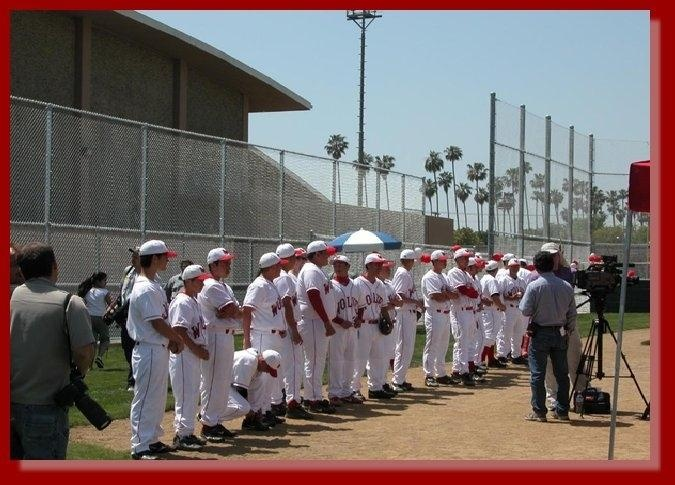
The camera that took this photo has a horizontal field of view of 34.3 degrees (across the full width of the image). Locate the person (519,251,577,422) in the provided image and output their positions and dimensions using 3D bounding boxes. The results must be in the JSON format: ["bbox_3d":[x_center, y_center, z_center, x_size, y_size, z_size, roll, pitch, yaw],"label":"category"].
[{"bbox_3d":[3.589,1.569,18.989,0.981,2.770,1.074,5,7,27],"label":"person"}]

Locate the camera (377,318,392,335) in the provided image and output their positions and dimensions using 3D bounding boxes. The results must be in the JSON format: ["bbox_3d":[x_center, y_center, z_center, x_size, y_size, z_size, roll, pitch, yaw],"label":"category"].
[{"bbox_3d":[0.936,1.611,20.815,0.150,0.335,0.227,0,8,-43],"label":"camera"}]

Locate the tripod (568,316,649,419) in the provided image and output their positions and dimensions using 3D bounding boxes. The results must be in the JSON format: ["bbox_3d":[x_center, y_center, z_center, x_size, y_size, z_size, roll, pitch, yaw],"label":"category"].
[{"bbox_3d":[5.377,2.538,21.686,1.670,2.113,1.493,-2,4,2],"label":"tripod"}]

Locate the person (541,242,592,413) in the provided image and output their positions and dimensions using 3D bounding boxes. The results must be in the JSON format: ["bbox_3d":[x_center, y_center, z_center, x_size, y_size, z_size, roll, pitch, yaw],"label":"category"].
[{"bbox_3d":[4.104,1.611,20.164,1.000,3.130,1.091,5,6,29],"label":"person"}]

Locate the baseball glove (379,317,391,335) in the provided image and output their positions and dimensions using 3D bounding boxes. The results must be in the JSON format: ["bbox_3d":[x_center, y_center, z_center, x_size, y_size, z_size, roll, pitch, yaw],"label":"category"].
[{"bbox_3d":[0.923,1.588,20.777,0.222,0.322,0.143,3,-10,-34],"label":"baseball glove"}]
